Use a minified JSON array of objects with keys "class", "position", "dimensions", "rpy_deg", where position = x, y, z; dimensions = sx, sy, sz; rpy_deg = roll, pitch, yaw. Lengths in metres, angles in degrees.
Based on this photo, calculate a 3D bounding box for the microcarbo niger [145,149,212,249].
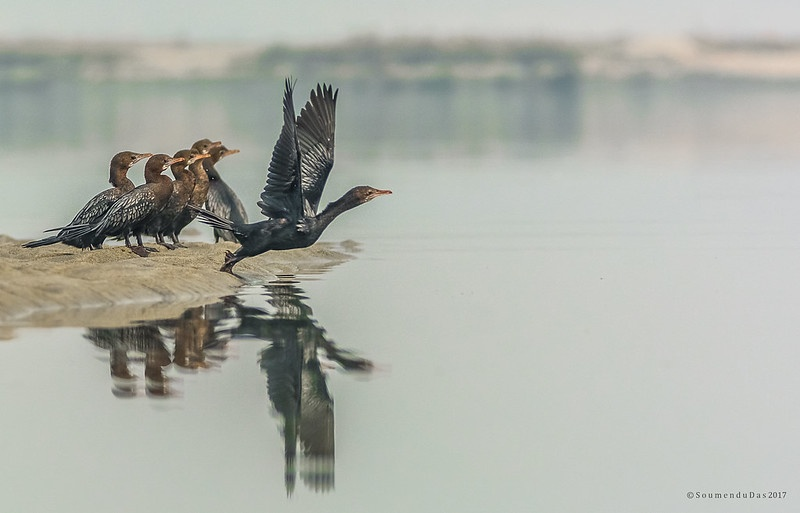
[{"class":"microcarbo niger","position":[-3.852,-1.011,28.046],"dimensions":[1.434,1.713,0.323],"rpy_deg":[2,6,5]}]
